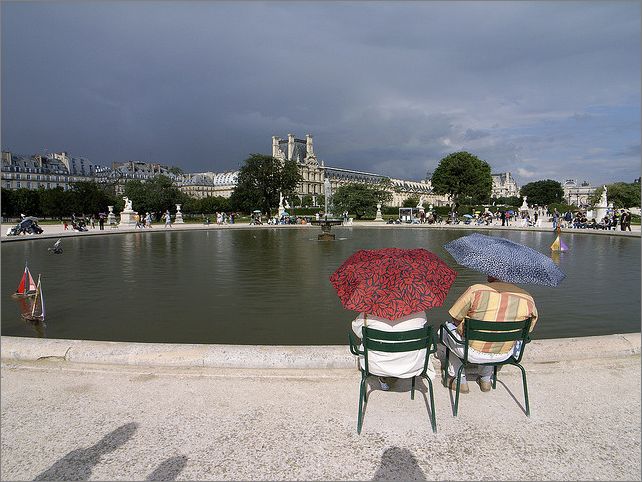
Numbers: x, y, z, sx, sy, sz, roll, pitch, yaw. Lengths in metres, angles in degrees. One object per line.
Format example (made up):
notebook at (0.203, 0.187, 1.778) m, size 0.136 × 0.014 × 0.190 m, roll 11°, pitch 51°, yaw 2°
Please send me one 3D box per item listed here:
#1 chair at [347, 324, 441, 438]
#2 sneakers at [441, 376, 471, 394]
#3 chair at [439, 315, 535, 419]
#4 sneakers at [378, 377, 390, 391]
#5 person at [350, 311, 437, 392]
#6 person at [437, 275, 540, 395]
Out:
chair at (0.817, 1.448, 5.825) m, size 0.965 × 1.055 × 0.901 m, roll 0°, pitch 6°, yaw 3°
sneakers at (1.616, 1.719, 6.243) m, size 0.122 × 0.133 × 0.325 m, roll -3°, pitch 10°, yaw -19°
chair at (1.958, 1.416, 6.294) m, size 1.066 × 1.194 × 0.960 m, roll -2°, pitch 8°, yaw -25°
sneakers at (0.761, 1.697, 6.222) m, size 0.068 × 0.082 × 0.193 m, roll 1°, pitch 7°, yaw 3°
person at (0.848, 1.181, 5.969) m, size 0.821 × 1.213 × 0.775 m, roll -2°, pitch 27°, yaw 3°
person at (1.962, 1.200, 6.293) m, size 1.056 × 1.405 × 0.870 m, roll 3°, pitch 9°, yaw -10°
